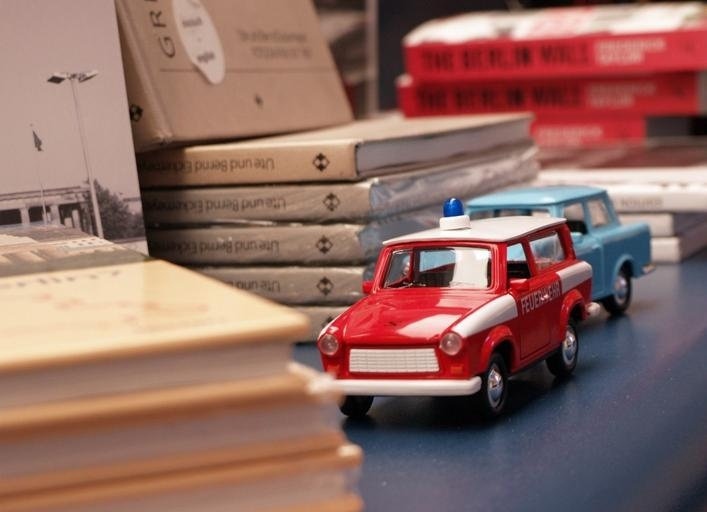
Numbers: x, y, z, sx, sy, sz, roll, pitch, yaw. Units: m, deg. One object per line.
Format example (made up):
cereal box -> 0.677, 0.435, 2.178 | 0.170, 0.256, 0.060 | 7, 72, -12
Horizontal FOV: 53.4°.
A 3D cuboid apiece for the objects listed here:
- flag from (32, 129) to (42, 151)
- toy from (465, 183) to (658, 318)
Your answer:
flag -> -1.755, -0.639, 3.893 | 0.052, 0.124, 0.023 | -9, 10, -28
toy -> 1.471, -0.052, 4.726 | 0.730, 0.625, 1.177 | -7, 0, 41
